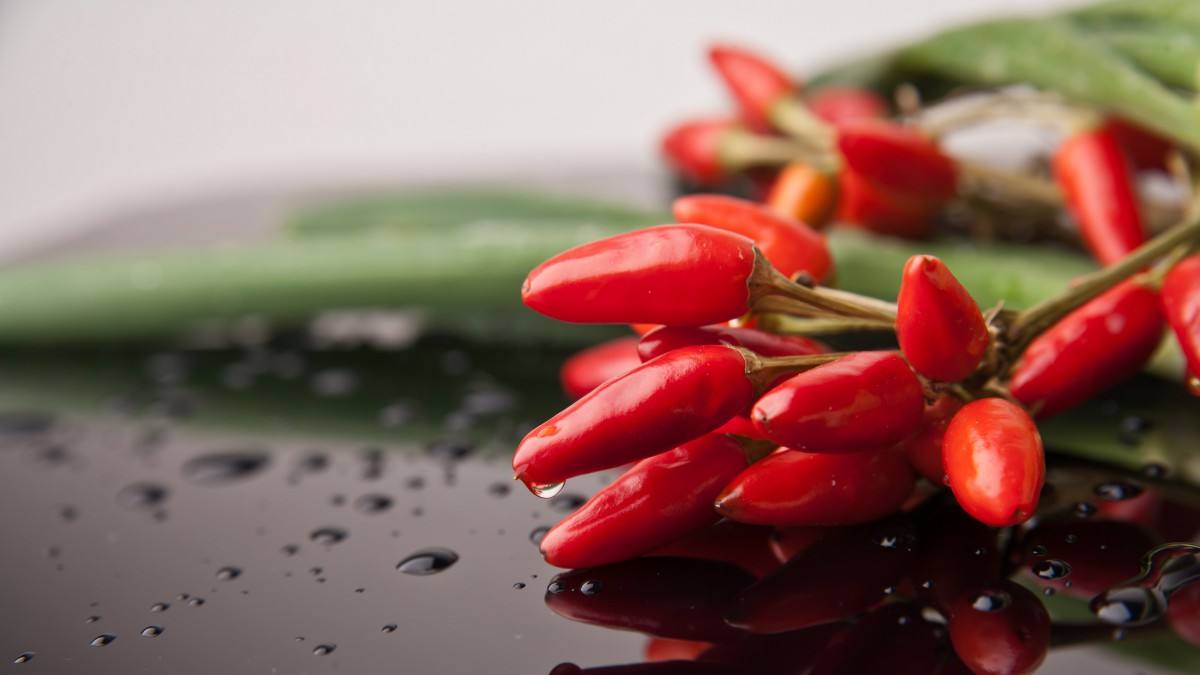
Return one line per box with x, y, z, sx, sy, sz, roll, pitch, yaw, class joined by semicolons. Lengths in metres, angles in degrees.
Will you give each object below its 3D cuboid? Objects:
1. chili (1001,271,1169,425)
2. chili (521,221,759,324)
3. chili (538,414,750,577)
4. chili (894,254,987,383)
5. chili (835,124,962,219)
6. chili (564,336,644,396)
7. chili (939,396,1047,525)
0.409;0.011;0.998;0.163;0.073;0.073;-30;-1;2;chili
0.031;-0.061;0.931;0.178;0.070;0.077;-4;19;-1;chili
0.041;0.130;0.897;0.238;0.065;0.066;-18;61;-12;chili
0.270;-0.017;0.918;0.069;0.096;0.060;-17;25;20;chili
0.283;-0.156;1.078;0.109;0.109;0.077;9;44;14;chili
0.013;0.025;1.115;0.087;0.025;0.046;-15;48;-36;chili
0.296;0.092;0.859;0.082;0.053;0.090;1;72;-6;chili
